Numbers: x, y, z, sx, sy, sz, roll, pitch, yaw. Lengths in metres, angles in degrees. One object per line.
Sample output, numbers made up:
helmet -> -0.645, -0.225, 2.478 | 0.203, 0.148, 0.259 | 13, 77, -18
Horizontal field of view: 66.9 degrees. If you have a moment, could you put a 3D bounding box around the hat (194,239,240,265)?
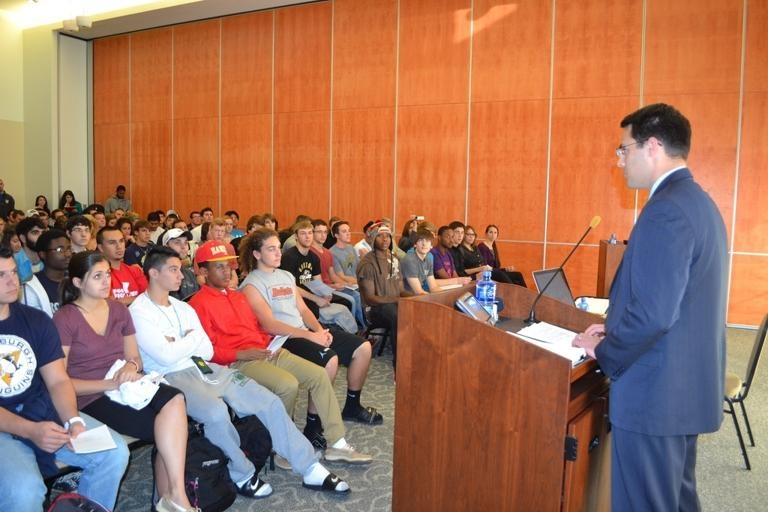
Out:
hat -> -1.476, -0.021, 5.008 | 0.271, 0.173, 0.210 | -12, 2, 33

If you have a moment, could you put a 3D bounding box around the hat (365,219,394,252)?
hat -> -0.049, -0.251, 7.099 | 0.298, 0.361, 0.435 | -1, -3, -11

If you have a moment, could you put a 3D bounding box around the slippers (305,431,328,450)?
slippers -> -0.597, 1.581, 5.002 | 0.153, 0.074, 0.140 | 9, -3, -4

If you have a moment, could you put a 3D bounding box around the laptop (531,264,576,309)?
laptop -> 1.691, 0.225, 5.557 | 0.463, 0.481, 0.107 | 3, -16, -32

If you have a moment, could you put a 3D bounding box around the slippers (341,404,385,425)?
slippers -> -0.215, 1.502, 5.478 | 0.307, 0.127, 0.184 | 1, 1, 11

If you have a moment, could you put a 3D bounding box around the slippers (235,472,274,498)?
slippers -> -0.995, 1.748, 4.449 | 0.258, 0.131, 0.144 | 0, 0, 13

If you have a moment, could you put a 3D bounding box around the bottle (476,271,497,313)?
bottle -> 0.750, 0.264, 4.288 | 0.158, 0.309, 0.365 | -2, 3, 10

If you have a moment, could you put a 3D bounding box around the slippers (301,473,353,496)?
slippers -> -0.428, 1.754, 4.545 | 0.302, 0.112, 0.155 | 2, 0, 13

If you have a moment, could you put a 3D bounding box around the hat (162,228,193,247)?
hat -> -2.643, -0.227, 7.390 | 0.437, 0.237, 0.275 | -19, -6, 42

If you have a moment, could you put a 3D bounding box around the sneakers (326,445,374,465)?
sneakers -> -0.291, 1.652, 4.893 | 0.395, 0.186, 0.153 | 1, -5, -3
